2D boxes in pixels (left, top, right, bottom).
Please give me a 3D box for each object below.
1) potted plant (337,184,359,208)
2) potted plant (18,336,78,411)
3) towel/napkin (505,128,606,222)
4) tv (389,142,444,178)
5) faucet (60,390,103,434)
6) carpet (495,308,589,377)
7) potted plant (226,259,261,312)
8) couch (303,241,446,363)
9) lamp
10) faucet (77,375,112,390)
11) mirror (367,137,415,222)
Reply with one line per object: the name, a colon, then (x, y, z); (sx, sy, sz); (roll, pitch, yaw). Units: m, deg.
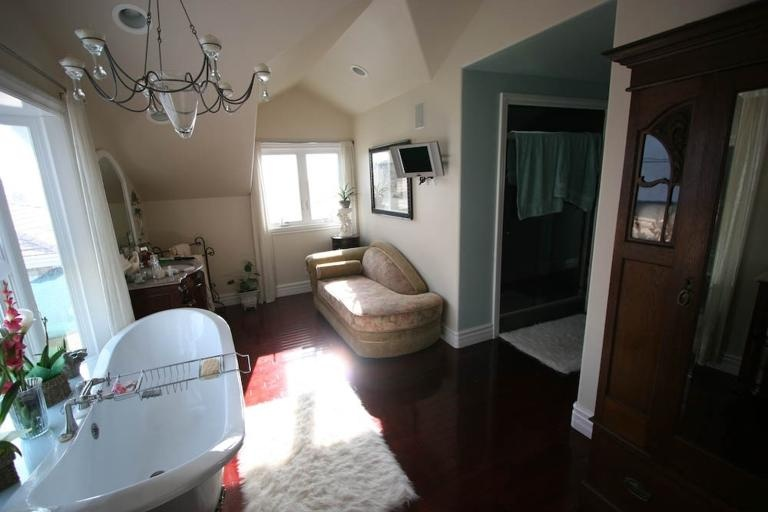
potted plant: (-0.527, -0.817, 6.830); (0.311, 0.283, 0.301); (-5, 8, -43)
potted plant: (-2.432, 0.868, 3.641); (0.422, 0.430, 0.327); (-15, 13, -13)
towel/napkin: (1.848, -0.882, 5.291); (1.189, 0.920, 0.248); (-10, 12, -29)
tv: (0.337, -0.981, 5.089); (0.599, 0.364, 0.056); (5, 28, 41)
faucet: (-2.115, 1.079, 3.425); (0.124, 0.240, 0.344); (1, 3, 5)
carpet: (1.690, 0.881, 5.039); (0.688, 0.033, 0.493); (-18, 30, -35)
potted plant: (-1.777, 0.386, 6.508); (0.365, 0.578, 0.378); (6, 15, 15)
couch: (-0.172, 0.388, 5.682); (1.056, 0.893, 1.831); (-9, 17, -24)
lamp: (-1.862, -1.553, 4.061); (1.064, 1.250, 1.232); (2, 4, 29)
faucet: (-2.048, 0.935, 3.516); (0.169, 0.080, 0.119); (-11, 17, -35)
mirror: (0.093, -0.914, 5.794); (0.939, 1.364, 0.046); (12, 19, 43)
